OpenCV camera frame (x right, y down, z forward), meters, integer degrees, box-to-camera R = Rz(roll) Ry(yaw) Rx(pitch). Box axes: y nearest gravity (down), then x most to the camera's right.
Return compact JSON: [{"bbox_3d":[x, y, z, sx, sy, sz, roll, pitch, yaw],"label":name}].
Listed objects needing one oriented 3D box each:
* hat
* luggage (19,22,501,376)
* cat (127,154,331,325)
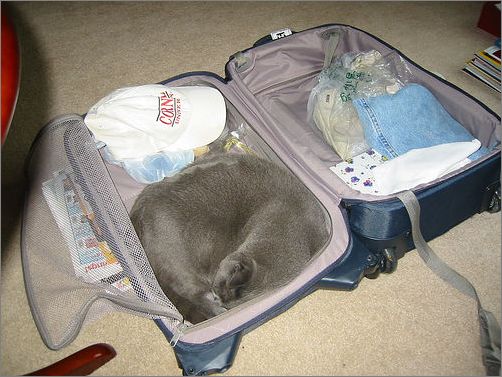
[{"bbox_3d":[-0.292,-0.220,1.500,0.363,0.117,0.255,-8,70,-19],"label":"hat"},{"bbox_3d":[0.035,-0.015,1.511,1.523,0.693,0.894,-34,38,-25],"label":"luggage"},{"bbox_3d":[-0.075,0.152,1.454,0.496,0.124,0.489,-26,68,-23],"label":"cat"}]
